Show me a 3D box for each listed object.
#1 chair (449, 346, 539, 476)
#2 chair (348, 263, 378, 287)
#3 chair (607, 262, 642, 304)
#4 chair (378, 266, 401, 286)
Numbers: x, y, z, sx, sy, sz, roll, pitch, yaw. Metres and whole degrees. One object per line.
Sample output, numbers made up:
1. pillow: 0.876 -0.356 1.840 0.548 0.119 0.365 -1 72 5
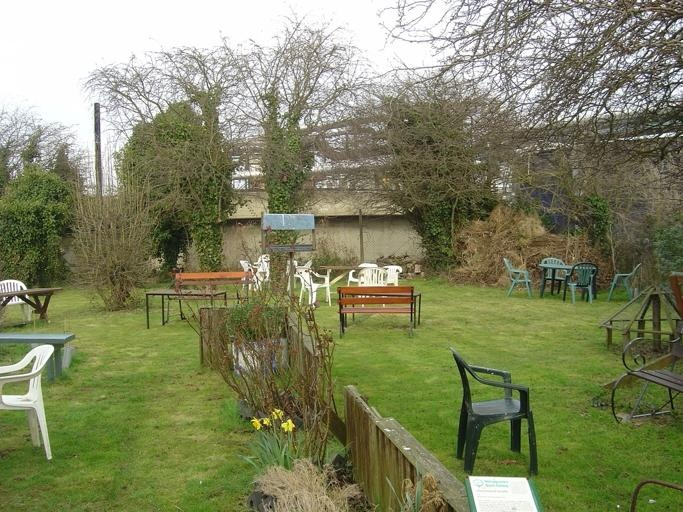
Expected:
1. chair: 1.507 1.498 5.456 0.838 1.052 0.842 -2 -2 34
2. chair: 0.538 0.397 15.462 0.740 0.983 0.707 0 -10 3
3. chair: 7.449 0.678 14.694 0.780 1.007 2.419 -3 -2 28
4. chair: 1.246 0.457 14.005 0.584 0.683 0.552 1 -7 0
